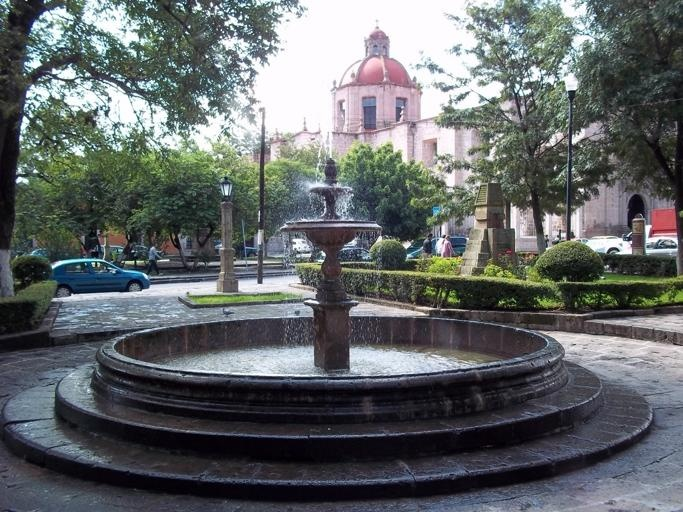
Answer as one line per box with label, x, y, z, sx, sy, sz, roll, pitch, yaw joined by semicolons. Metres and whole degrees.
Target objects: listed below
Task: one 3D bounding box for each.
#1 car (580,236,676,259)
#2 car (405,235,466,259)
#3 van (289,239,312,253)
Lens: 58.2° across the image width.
car;12.959;-0.382;27.222;2.846;1.057;1.367;-1;0;27
car;5.310;-0.822;33.665;2.841;1.514;1.813;2;-2;-9
van;-3.116;-0.792;46.829;0.931;0.746;2.092;-2;12;-22
